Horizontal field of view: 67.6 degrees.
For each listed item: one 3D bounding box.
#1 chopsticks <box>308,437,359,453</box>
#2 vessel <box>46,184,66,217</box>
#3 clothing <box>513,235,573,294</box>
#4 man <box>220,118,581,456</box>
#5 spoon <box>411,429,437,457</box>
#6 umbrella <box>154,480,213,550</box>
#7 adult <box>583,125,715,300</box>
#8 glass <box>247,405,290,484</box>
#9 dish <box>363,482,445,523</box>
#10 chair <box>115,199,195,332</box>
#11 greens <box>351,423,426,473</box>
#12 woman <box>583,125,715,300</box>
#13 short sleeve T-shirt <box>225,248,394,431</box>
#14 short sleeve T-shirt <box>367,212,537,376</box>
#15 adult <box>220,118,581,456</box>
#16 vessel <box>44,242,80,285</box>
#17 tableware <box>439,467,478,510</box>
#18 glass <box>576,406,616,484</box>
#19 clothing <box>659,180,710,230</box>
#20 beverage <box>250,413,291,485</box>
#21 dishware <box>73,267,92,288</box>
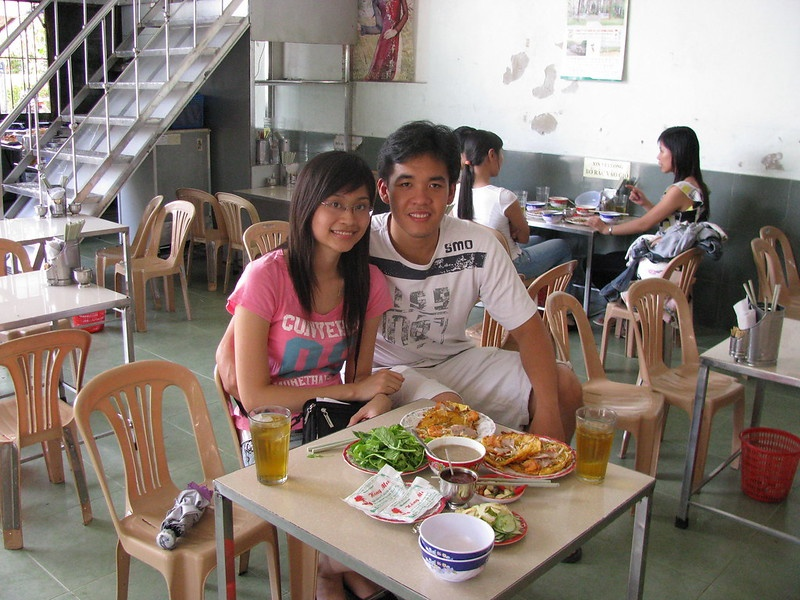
[{"bbox_3d":[-0.180,0.396,1.643,0.100,0.012,0.019,-15,5,-32],"label":"chopsticks"},{"bbox_3d":[-2.561,-0.739,4.453,0.116,0.204,0.245,-6,14,-30],"label":"vessel"},{"bbox_3d":[1.126,-0.329,4.893,0.596,0.205,0.335,-21,27,-34],"label":"clothing"},{"bbox_3d":[0.106,0.072,2.146,1.018,1.386,0.987,0,9,6],"label":"man"},{"bbox_3d":[0.065,0.357,1.562,0.022,0.020,0.111,35,15,-30],"label":"spoon"},{"bbox_3d":[-0.663,0.654,1.839,0.099,0.106,0.182,-10,23,21],"label":"umbrella"},{"bbox_3d":[1.955,-0.696,4.631,0.942,1.715,0.786,13,30,36],"label":"adult"},{"bbox_3d":[-0.321,0.363,1.490,0.096,0.159,0.095,-5,6,-43],"label":"glass"},{"bbox_3d":[0.031,0.478,1.391,0.113,0.033,0.175,10,15,38],"label":"dish"},{"bbox_3d":[-2.035,-0.316,4.925,0.605,0.988,0.620,-4,18,-28],"label":"chair"},{"bbox_3d":[-0.039,0.384,1.563,0.127,0.055,0.132,14,21,26],"label":"greens"},{"bbox_3d":[1.955,-0.696,4.631,0.943,1.715,0.786,13,30,36],"label":"woman"},{"bbox_3d":[-0.307,0.138,2.008,0.534,0.546,0.285,-5,26,-38],"label":"short sleeve T-shirt"},{"bbox_3d":[0.080,-0.051,2.389,0.883,0.711,0.327,3,29,6],"label":"short sleeve T-shirt"},{"bbox_3d":[0.120,0.069,2.135,1.033,1.375,0.974,1,7,13],"label":"adult"},{"bbox_3d":[-1.826,-0.209,3.228,0.179,0.223,0.230,-8,12,-31],"label":"vessel"},{"bbox_3d":[0.133,0.433,1.398,0.080,0.071,0.088,2,6,8],"label":"tableware"},{"bbox_3d":[0.499,0.370,1.538,0.106,0.181,0.108,-4,8,-26],"label":"glass"},{"bbox_3d":[2.067,-0.686,4.338,0.259,0.389,0.205,20,40,34],"label":"clothing"},{"bbox_3d":[-0.322,0.362,1.492,0.094,0.158,0.098,0,4,30],"label":"beverage"},{"bbox_3d":[-1.658,-0.125,3.161,0.087,0.090,0.100,0,3,4],"label":"dishware"}]
